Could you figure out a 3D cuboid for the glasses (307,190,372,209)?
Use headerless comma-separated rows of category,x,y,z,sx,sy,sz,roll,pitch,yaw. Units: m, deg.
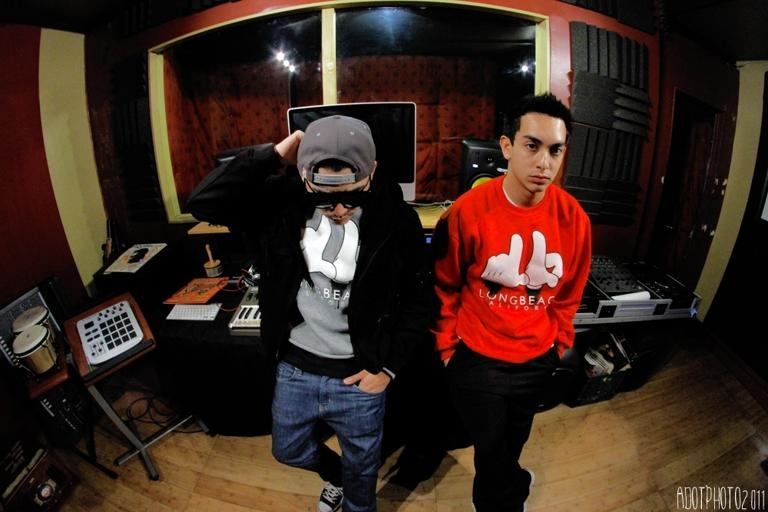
glasses,-0.307,-0.380,3.422,0.425,0.123,0.062,-3,21,-1

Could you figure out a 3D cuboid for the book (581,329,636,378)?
book,1.892,0.854,4.364,0.408,0.397,0.106,-7,-15,5

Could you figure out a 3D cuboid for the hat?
hat,-0.321,-0.707,3.382,0.506,0.426,0.188,-6,21,-9

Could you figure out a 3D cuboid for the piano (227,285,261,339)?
piano,-1.017,0.443,4.057,0.299,0.090,0.397,0,39,13

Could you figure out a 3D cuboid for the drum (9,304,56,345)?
drum,-2.683,0.498,3.969,0.280,0.260,0.268,6,24,9

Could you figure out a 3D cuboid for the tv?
tv,-0.229,-0.785,3.729,0.951,0.702,0.103,0,10,5

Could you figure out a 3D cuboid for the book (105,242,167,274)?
book,-2.168,0.024,4.450,0.419,0.134,0.389,-1,21,5
